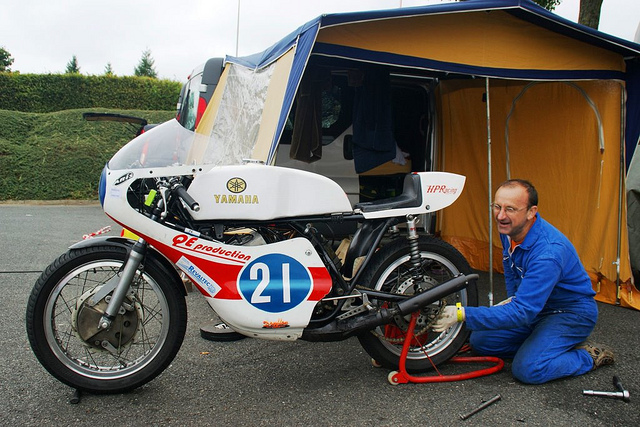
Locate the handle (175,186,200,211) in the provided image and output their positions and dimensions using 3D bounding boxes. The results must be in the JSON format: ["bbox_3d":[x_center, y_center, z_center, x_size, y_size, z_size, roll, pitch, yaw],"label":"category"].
[{"bbox_3d":[-1.101,-0.122,4.754,0.234,0.184,0.097,13,15,39],"label":"handle"}]

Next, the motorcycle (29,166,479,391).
[{"bbox_3d":[-0.367,0.537,5.095,4.143,1.965,0.977,0,2,-17],"label":"motorcycle"}]

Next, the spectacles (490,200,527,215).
[{"bbox_3d":[1.681,-0.029,5.124,0.289,0.076,0.109,9,13,26],"label":"spectacles"}]
